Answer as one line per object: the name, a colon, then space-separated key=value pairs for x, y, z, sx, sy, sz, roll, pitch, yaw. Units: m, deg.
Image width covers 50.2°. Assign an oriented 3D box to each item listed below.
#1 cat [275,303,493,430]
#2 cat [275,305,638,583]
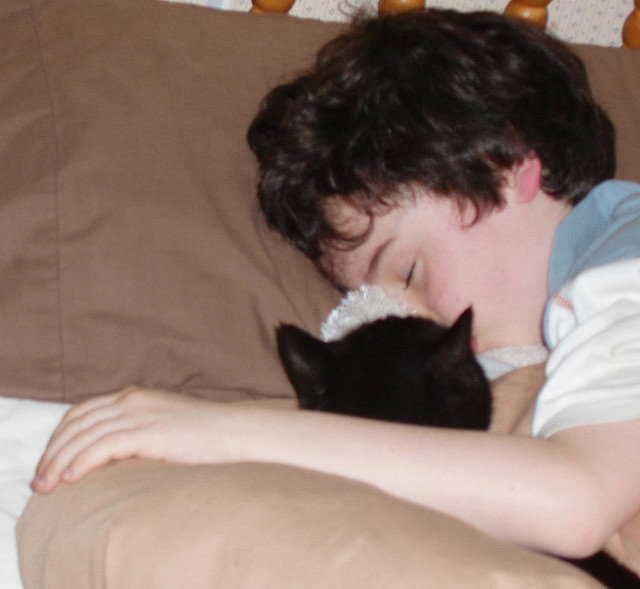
cat: x=0.111 y=0.101 z=1.035 sx=0.362 sy=0.115 sz=0.281 roll=-2 pitch=14 yaw=1
cat: x=0.210 y=0.194 z=1.124 sx=0.227 sy=0.536 sz=0.435 roll=-13 pitch=68 yaw=42
